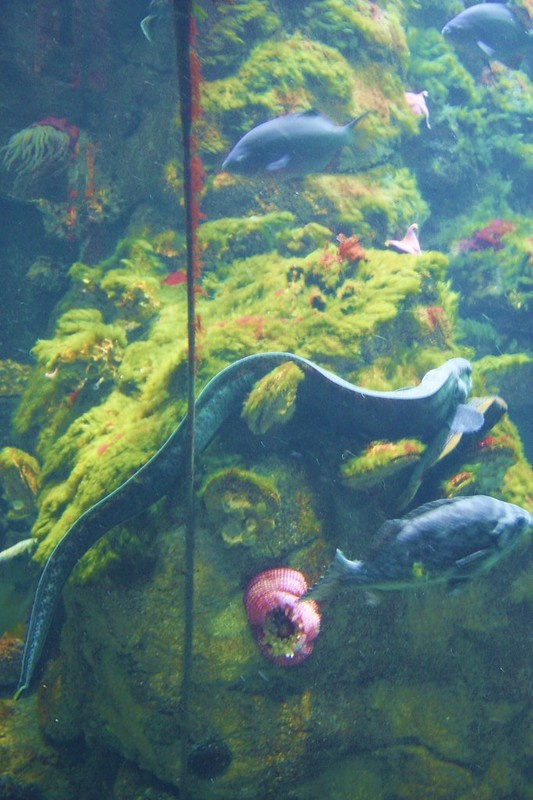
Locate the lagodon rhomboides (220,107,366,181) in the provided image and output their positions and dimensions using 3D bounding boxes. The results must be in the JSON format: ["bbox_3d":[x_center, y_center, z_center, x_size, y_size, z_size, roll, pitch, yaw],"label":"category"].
[{"bbox_3d":[0.128,-1.359,6.530,0.747,0.405,0.279,-5,21,-33],"label":"lagodon rhomboides"}]

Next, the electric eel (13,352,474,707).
[{"bbox_3d":[-0.064,0.594,6.039,2.255,1.619,0.510,3,16,-16],"label":"electric eel"}]

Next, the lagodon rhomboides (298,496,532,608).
[{"bbox_3d":[0.750,0.746,5.814,1.044,0.559,0.183,6,16,-10],"label":"lagodon rhomboides"}]
